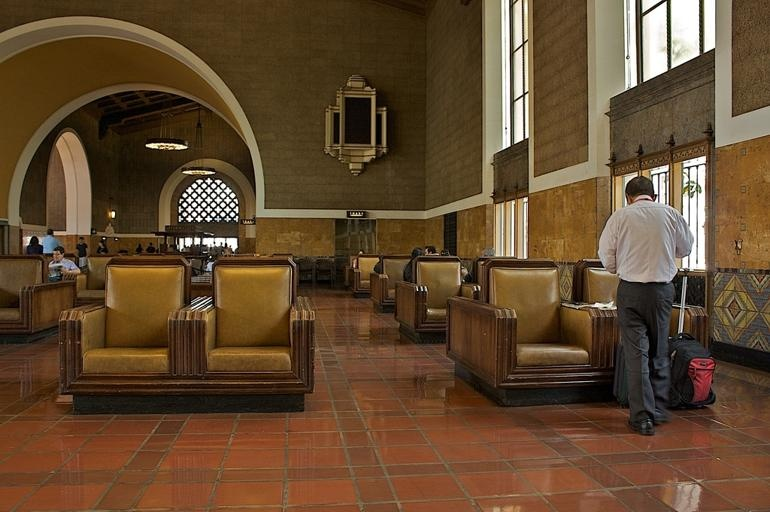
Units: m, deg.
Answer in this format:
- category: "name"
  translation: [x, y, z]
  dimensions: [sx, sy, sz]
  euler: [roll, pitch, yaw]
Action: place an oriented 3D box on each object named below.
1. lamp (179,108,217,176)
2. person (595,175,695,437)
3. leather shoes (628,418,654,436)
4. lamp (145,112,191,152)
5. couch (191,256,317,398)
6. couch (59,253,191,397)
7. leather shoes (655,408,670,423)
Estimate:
- category: "lamp"
  translation: [-7.980, -4.723, 25.057]
  dimensions: [1.731, 2.169, 1.719]
  euler: [3, 6, 7]
- category: "person"
  translation: [2.559, 0.427, 5.620]
  dimensions: [0.781, 2.286, 1.007]
  euler: [-1, 14, -4]
- category: "leather shoes"
  translation: [2.410, 1.569, 5.440]
  dimensions: [0.221, 0.128, 0.210]
  euler: [5, 15, 19]
- category: "lamp"
  translation: [-8.756, -5.028, 23.188]
  dimensions: [1.716, 1.810, 1.668]
  euler: [0, 26, -2]
- category: "couch"
  translation: [-1.291, 0.724, 6.494]
  dimensions: [1.636, 1.813, 1.294]
  euler: [0, -4, -5]
- category: "couch"
  translation: [-2.732, 0.712, 6.481]
  dimensions: [1.472, 1.847, 1.427]
  euler: [0, -4, -6]
- category: "leather shoes"
  translation: [2.671, 1.545, 5.621]
  dimensions: [0.136, 0.060, 0.168]
  euler: [1, -3, 2]
